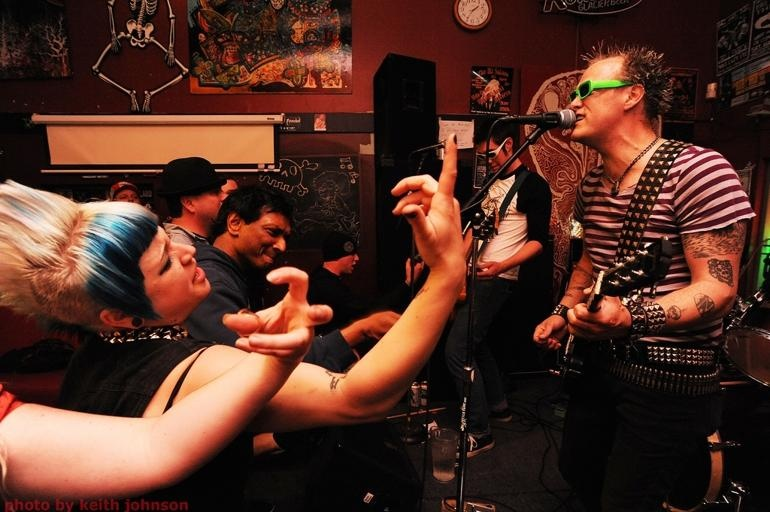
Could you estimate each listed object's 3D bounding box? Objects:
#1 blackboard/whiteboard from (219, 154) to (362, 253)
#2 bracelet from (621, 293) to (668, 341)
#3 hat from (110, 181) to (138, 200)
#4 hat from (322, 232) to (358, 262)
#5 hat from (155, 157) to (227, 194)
[{"bbox_3d":[-0.806,-0.465,5.161,0.132,0.966,1.401,12,12,43],"label":"blackboard/whiteboard"},{"bbox_3d":[1.168,0.274,2.595,0.209,0.125,0.164,-2,-8,12],"label":"bracelet"},{"bbox_3d":[-2.250,-0.564,4.974,0.153,0.198,0.203,-4,36,-40],"label":"hat"},{"bbox_3d":[-0.367,-0.085,4.519,0.264,0.211,0.189,-22,7,-14],"label":"hat"},{"bbox_3d":[-1.212,-0.500,3.537,0.323,0.119,0.263,-6,11,-15],"label":"hat"}]
